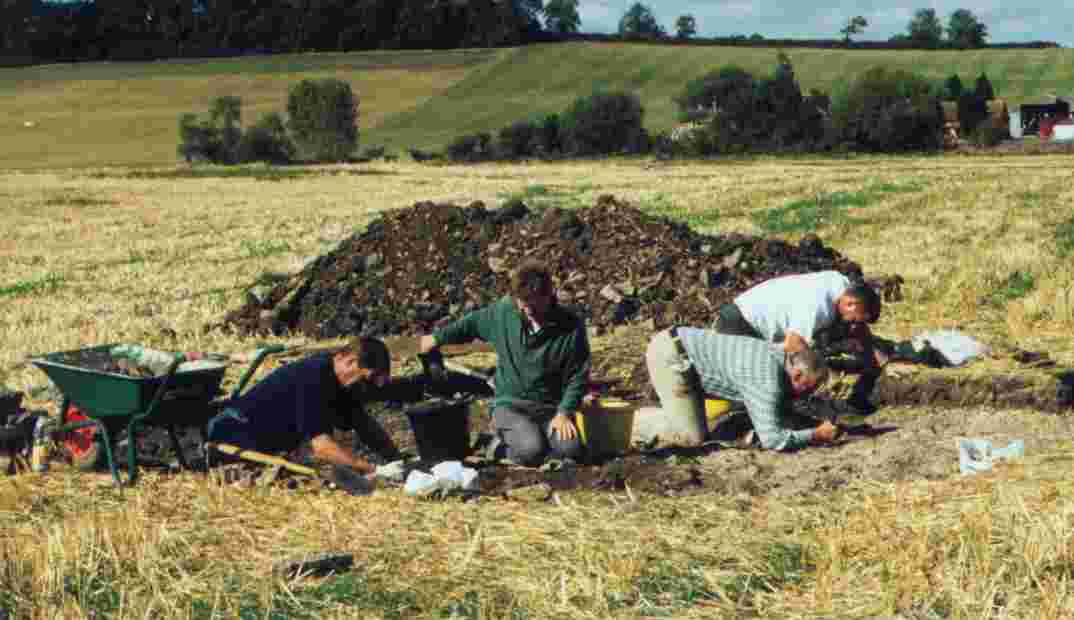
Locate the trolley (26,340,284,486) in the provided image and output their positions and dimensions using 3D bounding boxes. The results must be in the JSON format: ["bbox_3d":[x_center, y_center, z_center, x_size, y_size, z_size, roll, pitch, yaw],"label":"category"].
[{"bbox_3d":[-4.552,1.182,21.598,3.074,1.704,1.604,6,6,40],"label":"trolley"}]

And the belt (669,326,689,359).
[{"bbox_3d":[1.694,0.369,22.372,0.216,0.325,0.087,1,-26,8],"label":"belt"}]

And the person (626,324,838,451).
[{"bbox_3d":[2.290,0.798,22.122,1.867,1.044,1.425,1,23,8],"label":"person"}]

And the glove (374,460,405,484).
[{"bbox_3d":[-1.678,1.857,21.527,0.265,0.110,0.225,-1,8,-19],"label":"glove"}]

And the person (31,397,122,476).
[{"bbox_3d":[-5.448,1.444,21.742,0.800,0.263,0.535,-11,-25,-3],"label":"person"}]
